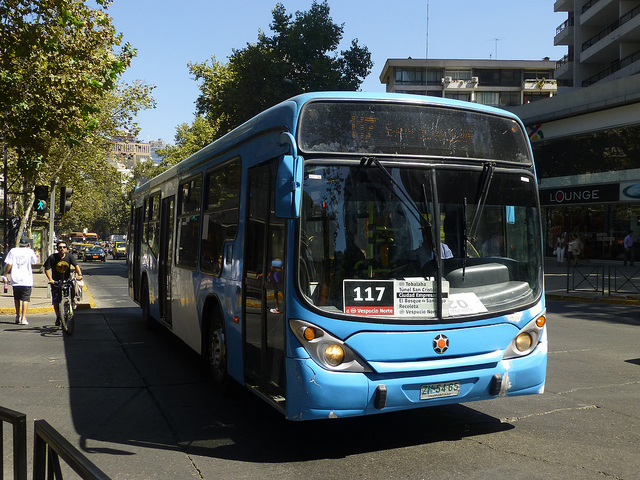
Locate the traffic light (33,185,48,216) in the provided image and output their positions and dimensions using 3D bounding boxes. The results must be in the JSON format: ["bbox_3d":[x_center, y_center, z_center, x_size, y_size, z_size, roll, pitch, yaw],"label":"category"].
[{"bbox_3d":[-8.728,-1.297,18.136,0.368,0.921,1.546,-1,2,-27],"label":"traffic light"}]

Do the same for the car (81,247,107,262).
[{"bbox_3d":[-21.516,1.381,55.207,1.861,1.297,1.199,-1,1,-16],"label":"car"}]

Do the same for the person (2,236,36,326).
[{"bbox_3d":[-7.172,0.966,13.895,0.654,2.107,0.811,-1,2,-31],"label":"person"}]

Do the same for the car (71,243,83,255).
[{"bbox_3d":[-27.670,0.983,66.073,1.048,1.140,1.915,2,-6,-29],"label":"car"}]

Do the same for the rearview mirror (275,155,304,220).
[{"bbox_3d":[-0.336,-0.532,5.789,0.247,0.642,0.079,4,1,35],"label":"rearview mirror"}]

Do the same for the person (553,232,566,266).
[{"bbox_3d":[14.203,0.495,34.101,0.451,1.856,1.247,0,2,24],"label":"person"}]

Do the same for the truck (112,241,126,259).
[{"bbox_3d":[-20.526,0.959,59.427,1.103,1.201,2.043,0,-3,-27],"label":"truck"}]

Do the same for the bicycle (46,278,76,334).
[{"bbox_3d":[-5.512,1.469,12.820,0.607,1.195,1.797,-6,-3,-13],"label":"bicycle"}]

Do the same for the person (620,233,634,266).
[{"bbox_3d":[15.948,0.498,29.994,0.462,1.694,1.594,1,2,29],"label":"person"}]

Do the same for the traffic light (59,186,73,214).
[{"bbox_3d":[-8.654,-1.407,19.699,0.374,0.986,2.394,-1,1,-24],"label":"traffic light"}]
